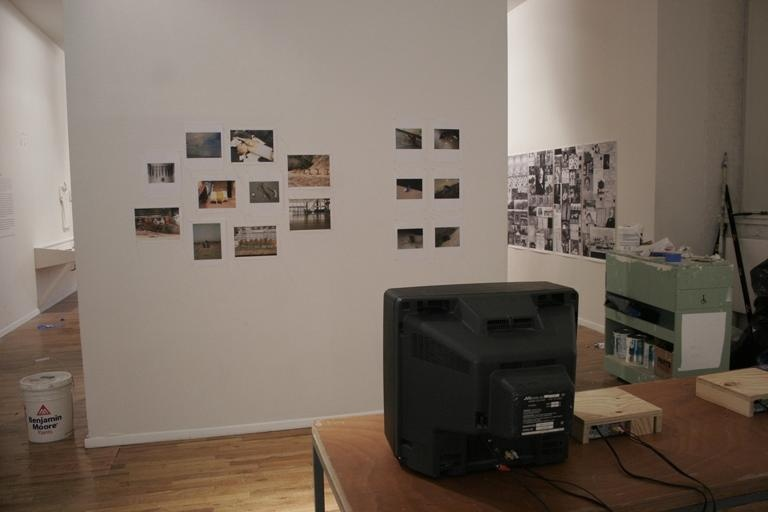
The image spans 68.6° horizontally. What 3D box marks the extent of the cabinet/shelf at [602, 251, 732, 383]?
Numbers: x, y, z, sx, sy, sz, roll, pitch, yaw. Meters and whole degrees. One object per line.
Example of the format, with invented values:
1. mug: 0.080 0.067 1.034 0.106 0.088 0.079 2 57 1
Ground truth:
1. cabinet/shelf: 2.650 0.525 5.174 0.738 1.378 1.130 -3 6 -22

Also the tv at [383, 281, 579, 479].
1. tv: 0.435 0.511 2.946 1.008 0.892 0.826 -2 12 -9
